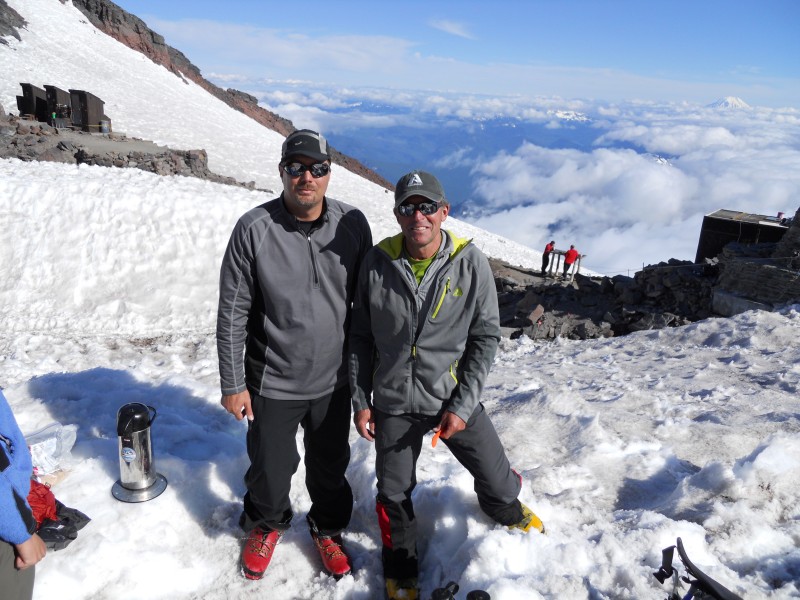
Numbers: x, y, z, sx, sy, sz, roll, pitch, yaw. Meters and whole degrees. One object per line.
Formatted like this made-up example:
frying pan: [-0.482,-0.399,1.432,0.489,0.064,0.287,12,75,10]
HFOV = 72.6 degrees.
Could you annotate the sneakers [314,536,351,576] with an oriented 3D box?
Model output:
sneakers: [-0.595,2.116,4.729,0.169,0.193,0.491,-14,29,-31]

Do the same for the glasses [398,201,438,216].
glasses: [0.137,-0.675,4.098,0.294,0.127,0.072,7,25,-1]

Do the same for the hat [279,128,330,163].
hat: [-0.725,-1.171,4.187,0.358,0.286,0.355,7,25,-1]

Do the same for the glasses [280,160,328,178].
glasses: [-0.732,-1.003,4.219,0.376,0.140,0.158,4,25,-8]
